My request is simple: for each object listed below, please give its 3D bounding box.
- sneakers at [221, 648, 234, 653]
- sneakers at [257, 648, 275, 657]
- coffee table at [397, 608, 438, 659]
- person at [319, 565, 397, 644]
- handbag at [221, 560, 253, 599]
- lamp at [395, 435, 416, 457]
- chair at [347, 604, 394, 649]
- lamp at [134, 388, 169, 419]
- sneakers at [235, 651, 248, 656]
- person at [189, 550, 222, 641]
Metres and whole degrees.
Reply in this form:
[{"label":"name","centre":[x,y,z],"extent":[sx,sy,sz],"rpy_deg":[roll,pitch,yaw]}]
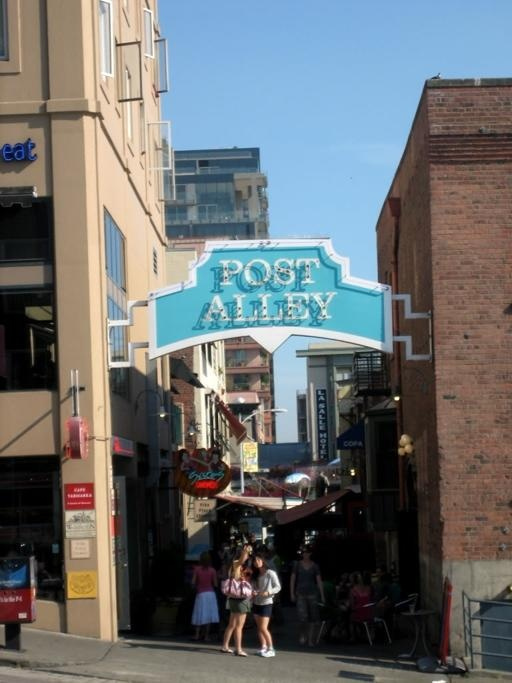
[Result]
[{"label":"sneakers","centre":[-0.515,5.321,27.875],"extent":[0.194,0.090,0.077],"rpy_deg":[0,1,3]},{"label":"sneakers","centre":[0.126,5.293,27.575],"extent":[0.254,0.126,0.109],"rpy_deg":[1,0,43]},{"label":"coffee table","centre":[2.907,5.183,29.043],"extent":[0.822,1.005,0.870],"rpy_deg":[0,-3,-6]},{"label":"person","centre":[1.853,4.974,30.596],"extent":[1.111,1.240,1.324],"rpy_deg":[-16,-33,28]},{"label":"handbag","centre":[-0.313,4.102,27.596],"extent":[0.572,0.559,0.562],"rpy_deg":[0,-6,-20]},{"label":"lamp","centre":[2.972,2.065,32.582],"extent":[0.306,0.394,0.757],"rpy_deg":[-3,-6,4]},{"label":"chair","centre":[2.033,5.106,29.813],"extent":[0.649,0.898,0.524],"rpy_deg":[16,-24,-41]},{"label":"lamp","centre":[-2.461,1.411,37.819],"extent":[0.833,0.860,0.504],"rpy_deg":[-3,-5,13]},{"label":"sneakers","centre":[-0.279,5.305,27.514],"extent":[0.210,0.098,0.083],"rpy_deg":[0,-2,15]},{"label":"person","centre":[-0.980,4.750,30.300],"extent":[0.475,1.582,1.730],"rpy_deg":[-2,-6,-2]}]
